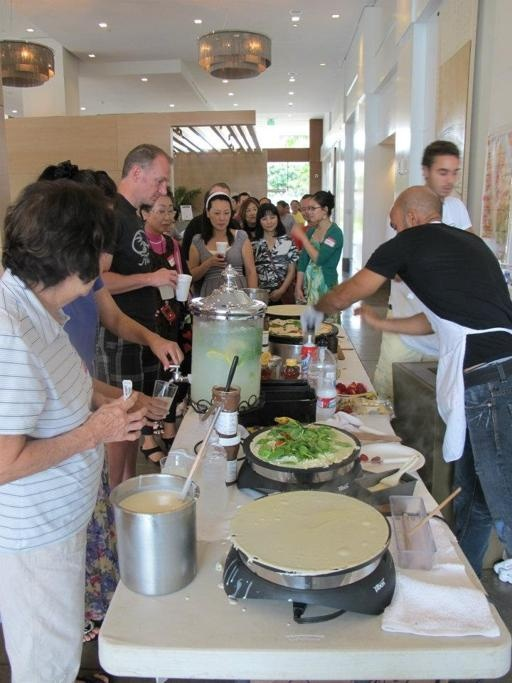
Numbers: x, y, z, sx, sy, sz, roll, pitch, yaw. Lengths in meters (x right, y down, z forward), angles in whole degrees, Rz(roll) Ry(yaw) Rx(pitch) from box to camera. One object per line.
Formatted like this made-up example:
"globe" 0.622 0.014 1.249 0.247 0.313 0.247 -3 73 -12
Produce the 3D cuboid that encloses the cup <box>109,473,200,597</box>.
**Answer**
"cup" -0.131 0.304 0.957 0.181 0.167 0.173 0 11 0

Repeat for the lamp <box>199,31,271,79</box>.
"lamp" -0.264 -3.498 6.748 0.847 0.442 0.926 -2 13 -3

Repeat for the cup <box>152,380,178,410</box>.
"cup" -0.227 0.140 1.456 0.074 0.102 0.070 4 -10 1

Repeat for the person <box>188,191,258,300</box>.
"person" -0.200 -0.646 3.831 0.502 0.692 0.722 -8 15 -22
